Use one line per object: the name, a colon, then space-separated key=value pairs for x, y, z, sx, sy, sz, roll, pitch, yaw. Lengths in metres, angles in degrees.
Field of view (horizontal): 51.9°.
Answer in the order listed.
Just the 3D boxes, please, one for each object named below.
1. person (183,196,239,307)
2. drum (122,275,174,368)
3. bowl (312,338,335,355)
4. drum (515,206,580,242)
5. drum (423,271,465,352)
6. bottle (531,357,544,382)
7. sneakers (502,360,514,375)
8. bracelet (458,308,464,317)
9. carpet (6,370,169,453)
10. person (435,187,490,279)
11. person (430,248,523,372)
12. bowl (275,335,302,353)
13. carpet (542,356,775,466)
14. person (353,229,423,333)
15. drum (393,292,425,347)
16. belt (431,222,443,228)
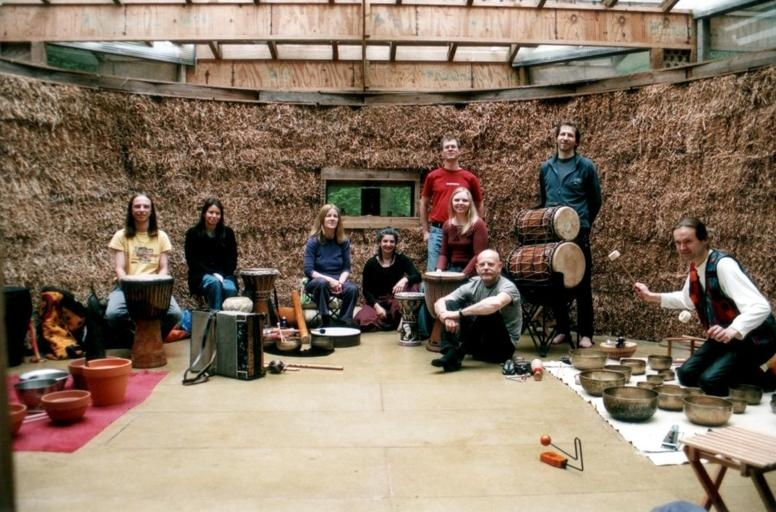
person: x=-2.395 y=-0.046 z=10.916 sx=0.711 sy=1.459 sz=0.744 roll=-3 pitch=6 yaw=-19
drum: x=-2.940 y=0.803 z=9.779 sx=0.600 sy=1.113 sz=0.229 roll=-3 pitch=6 yaw=-17
bowl: x=-0.862 y=1.163 z=10.463 sx=0.291 sy=0.213 sz=0.235 roll=-2 pitch=5 yaw=-8
drum: x=2.159 y=-0.401 z=10.621 sx=0.770 sy=0.551 sz=0.571 roll=4 pitch=3 yaw=40
drum: x=0.667 y=0.750 z=10.587 sx=0.582 sy=0.946 sz=0.574 roll=-3 pitch=-3 yaw=0
bottle: x=1.804 y=1.359 z=9.631 sx=0.145 sy=0.192 sz=0.364 roll=0 pitch=5 yaw=11
sneakers: x=1.457 y=1.339 z=9.658 sx=0.137 sy=0.157 sz=0.175 roll=-1 pitch=5 yaw=6
bracelet: x=0.893 y=0.684 z=9.707 sx=0.066 sy=0.065 sz=0.066 roll=4 pitch=-4 yaw=7
carpet: x=-3.221 y=1.690 z=8.630 sx=0.792 sy=0.412 sz=1.688 roll=1 pitch=5 yaw=28
person: x=0.958 y=-0.264 z=10.793 sx=0.804 sy=1.238 sz=0.762 roll=0 pitch=13 yaw=21
person: x=1.117 y=0.657 z=9.864 sx=1.053 sy=1.450 sz=0.647 roll=-1 pitch=6 yaw=6
bowl: x=-1.285 y=1.131 z=10.408 sx=0.325 sy=0.227 sz=0.200 roll=-6 pitch=7 yaw=-40
carpet: x=2.857 y=1.699 z=8.768 sx=1.631 sy=0.535 sz=2.439 roll=-6 pitch=6 yaw=-42
person: x=-0.094 y=0.351 z=11.425 sx=0.963 sy=1.431 sz=1.167 roll=9 pitch=13 yaw=37
drum: x=0.300 y=0.844 z=10.905 sx=0.380 sy=0.715 sz=0.432 roll=-1 pitch=6 yaw=0
belt: x=0.707 y=-0.447 z=11.526 sx=0.095 sy=0.072 sz=0.097 roll=1 pitch=-3 yaw=-10
